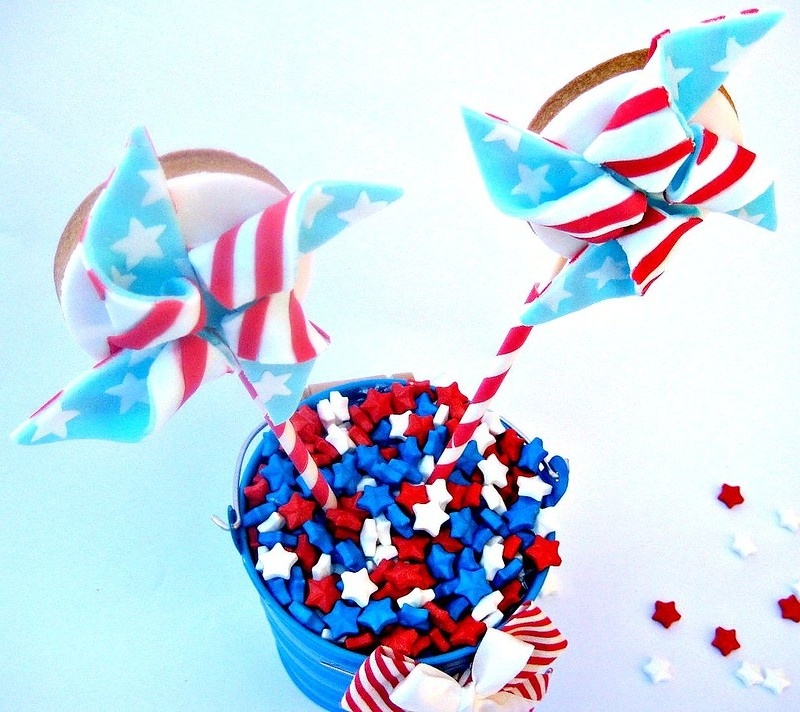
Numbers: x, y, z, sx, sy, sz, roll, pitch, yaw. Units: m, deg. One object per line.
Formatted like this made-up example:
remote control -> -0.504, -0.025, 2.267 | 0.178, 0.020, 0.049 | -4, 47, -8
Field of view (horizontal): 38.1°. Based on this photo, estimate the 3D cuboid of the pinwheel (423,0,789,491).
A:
pinwheel -> 0.339, -0.116, 2.035 | 0.588, 0.256, 1.090 | -9, -38, -16

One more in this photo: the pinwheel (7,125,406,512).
pinwheel -> -0.273, -0.046, 1.717 | 0.375, 0.154, 0.507 | -31, -62, -7

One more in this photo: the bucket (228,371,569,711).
bucket -> -0.046, 0.340, 2.200 | 0.520, 0.636, 0.550 | -3, -36, -2
